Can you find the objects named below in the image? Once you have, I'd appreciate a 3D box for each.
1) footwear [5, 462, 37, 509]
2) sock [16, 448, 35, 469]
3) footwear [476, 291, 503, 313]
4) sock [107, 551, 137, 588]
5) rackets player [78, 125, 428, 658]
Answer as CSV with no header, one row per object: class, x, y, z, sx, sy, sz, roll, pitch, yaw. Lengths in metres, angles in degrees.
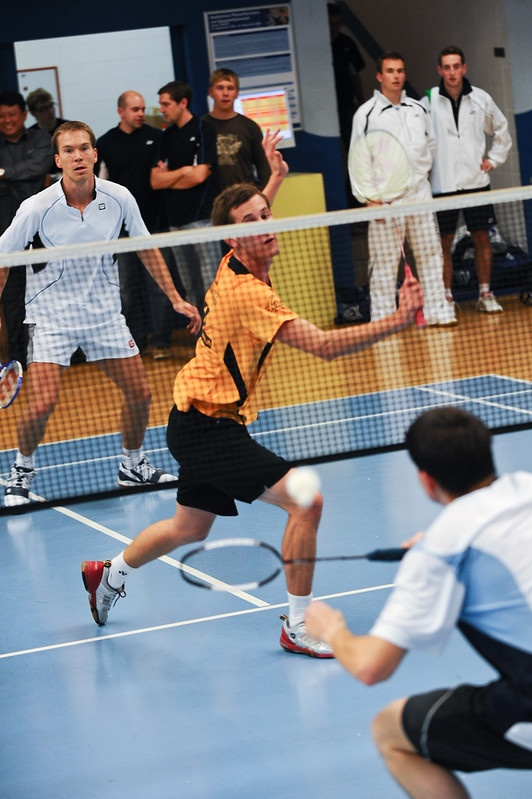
footwear,-1.507,0.544,4.602,0.159,0.253,0.257,12,-21,-2
sock,-1.581,0.405,4.895,0.108,0.124,0.131,7,13,17
footwear,2.784,-1.192,9.350,0.152,0.177,0.447,-6,10,-6
sock,-0.622,0.737,3.151,0.083,0.193,0.188,9,-12,-40
rackets player,-0.040,0.058,2.841,1.081,1.848,0.756,-3,4,-22
